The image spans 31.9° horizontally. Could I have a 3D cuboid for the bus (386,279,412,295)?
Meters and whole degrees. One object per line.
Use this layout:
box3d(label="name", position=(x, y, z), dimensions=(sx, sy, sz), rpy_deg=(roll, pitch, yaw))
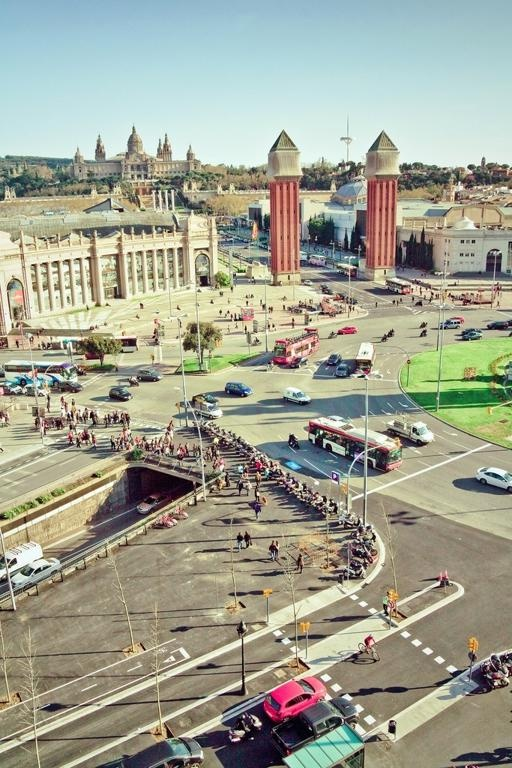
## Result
box3d(label="bus", position=(22.574, -15.188, 140.164), dimensions=(1.849, 1.665, 5.900), rpy_deg=(-5, 16, -5))

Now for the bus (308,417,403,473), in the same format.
box3d(label="bus", position=(7.969, 4.443, 67.108), dimensions=(2.651, 2.740, 9.560), rpy_deg=(-18, 23, -33))

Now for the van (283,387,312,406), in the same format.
box3d(label="van", position=(3.782, 1.156, 80.585), dimensions=(2.306, 0.983, 1.362), rpy_deg=(12, 21, 40))

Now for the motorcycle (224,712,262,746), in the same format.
box3d(label="motorcycle", position=(-0.576, 14.624, 37.947), dimensions=(1.432, 0.666, 0.815), rpy_deg=(-26, 50, -12))

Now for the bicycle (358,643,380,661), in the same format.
box3d(label="bicycle", position=(5.345, 12.788, 42.912), dimensions=(1.171, 0.684, 0.582), rpy_deg=(3, 8, 29))

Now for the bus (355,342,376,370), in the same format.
box3d(label="bus", position=(10.930, -2.683, 89.323), dimensions=(1.230, 1.074, 4.009), rpy_deg=(5, 27, 12))

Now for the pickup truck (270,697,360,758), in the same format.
box3d(label="pickup truck", position=(2.539, 14.227, 37.263), dimensions=(3.645, 1.206, 1.591), rpy_deg=(-19, 31, -25))

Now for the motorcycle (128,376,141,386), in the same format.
box3d(label="motorcycle", position=(-12.139, -0.278, 88.589), dimensions=(0.875, 0.485, 1.116), rpy_deg=(0, 53, -15))

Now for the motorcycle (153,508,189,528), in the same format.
box3d(label="motorcycle", position=(-5.442, 8.665, 57.505), dimensions=(1.063, 0.435, 1.527), rpy_deg=(5, 14, 22))

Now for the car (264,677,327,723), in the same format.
box3d(label="car", position=(1.734, 13.746, 38.756), dimensions=(2.686, 1.077, 1.373), rpy_deg=(-19, 32, -22))

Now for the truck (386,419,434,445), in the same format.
box3d(label="truck", position=(12.348, 3.651, 71.090), dimensions=(1.617, 1.476, 3.922), rpy_deg=(-17, 20, -35))
